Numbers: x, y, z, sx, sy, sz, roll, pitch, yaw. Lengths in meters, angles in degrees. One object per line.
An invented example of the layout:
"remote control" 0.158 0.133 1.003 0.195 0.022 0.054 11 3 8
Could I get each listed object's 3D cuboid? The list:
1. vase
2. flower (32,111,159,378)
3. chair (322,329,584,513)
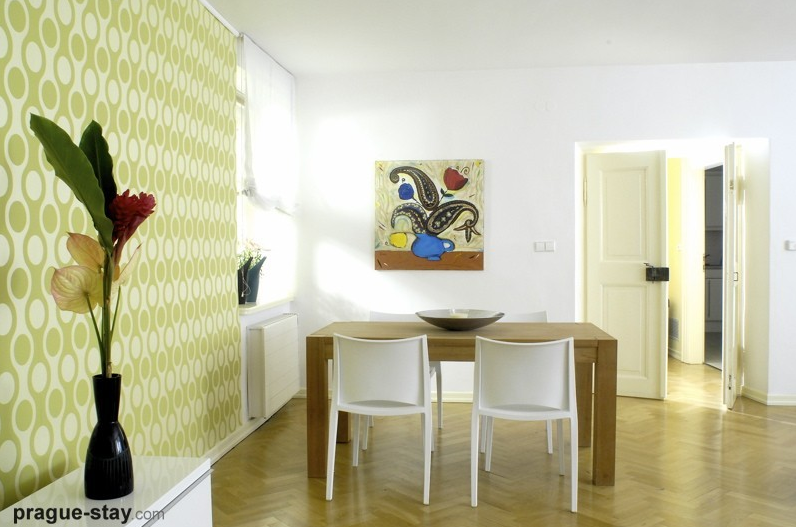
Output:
"vase" -1.560 0.899 3.159 0.246 0.645 0.192 -4 11 -22
"flower" -1.667 -0.029 3.192 0.634 1.363 0.529 3 -4 -39
"chair" 0.384 1.058 4.316 1.798 1.146 0.577 0 10 5
